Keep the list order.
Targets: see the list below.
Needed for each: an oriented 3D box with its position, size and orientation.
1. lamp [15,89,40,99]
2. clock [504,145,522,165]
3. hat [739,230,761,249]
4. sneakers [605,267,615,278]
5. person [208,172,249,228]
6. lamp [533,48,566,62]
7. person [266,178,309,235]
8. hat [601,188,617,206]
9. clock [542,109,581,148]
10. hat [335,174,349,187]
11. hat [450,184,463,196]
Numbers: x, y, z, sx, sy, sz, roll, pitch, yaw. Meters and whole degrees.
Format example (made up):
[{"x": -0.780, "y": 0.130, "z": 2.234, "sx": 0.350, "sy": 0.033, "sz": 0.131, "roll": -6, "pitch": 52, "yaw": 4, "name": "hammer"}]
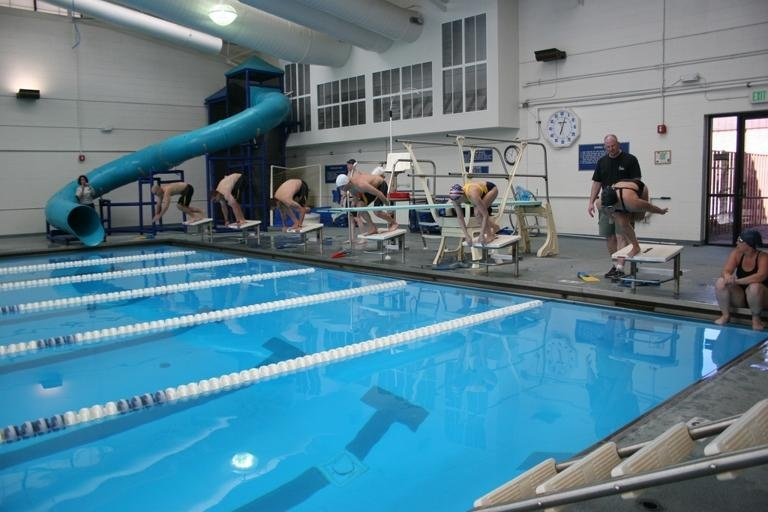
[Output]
[{"x": -8.244, "y": -3.749, "z": 12.046, "sx": 0.477, "sy": 0.218, "sz": 0.287, "roll": -7, "pitch": 10, "yaw": -30, "name": "lamp"}, {"x": 2.460, "y": -1.961, "z": 10.016, "sx": 0.272, "sy": 0.409, "sz": 0.427, "roll": 0, "pitch": 9, "yaw": 13, "name": "clock"}, {"x": 3.149, "y": -0.129, "z": 4.480, "sx": 0.144, "sy": 0.148, "sz": 0.184, "roll": -14, "pitch": 0, "yaw": -36, "name": "hat"}, {"x": 2.639, "y": 0.192, "z": 6.054, "sx": 0.110, "sy": 0.128, "sz": 0.339, "roll": -1, "pitch": 1, "yaw": 24, "name": "sneakers"}, {"x": -3.082, "y": -1.127, "z": 10.319, "sx": 0.611, "sy": 1.032, "sz": 1.863, "roll": -5, "pitch": 9, "yaw": -16, "name": "person"}, {"x": 3.051, "y": -3.725, "z": 9.640, "sx": 0.572, "sy": 0.233, "sz": 0.301, "roll": 6, "pitch": 12, "yaw": 40, "name": "lamp"}, {"x": -1.678, "y": -0.946, "z": 9.312, "sx": 0.663, "sy": 0.840, "sz": 2.164, "roll": -4, "pitch": 9, "yaw": -10, "name": "person"}, {"x": 2.364, "y": -0.617, "z": 5.463, "sx": 0.136, "sy": 0.187, "sz": 0.228, "roll": 0, "pitch": 9, "yaw": 11, "name": "hat"}, {"x": 3.311, "y": -2.365, "z": 9.710, "sx": 0.186, "sy": 0.702, "sz": 0.707, "roll": -9, "pitch": 12, "yaw": -38, "name": "clock"}, {"x": -0.636, "y": -1.162, "z": 8.109, "sx": 0.185, "sy": 0.190, "sz": 0.435, "roll": -2, "pitch": 9, "yaw": -2, "name": "hat"}, {"x": 0.895, "y": -0.799, "z": 6.459, "sx": 0.126, "sy": 0.133, "sz": 0.164, "roll": -3, "pitch": 30, "yaw": 21, "name": "hat"}]
